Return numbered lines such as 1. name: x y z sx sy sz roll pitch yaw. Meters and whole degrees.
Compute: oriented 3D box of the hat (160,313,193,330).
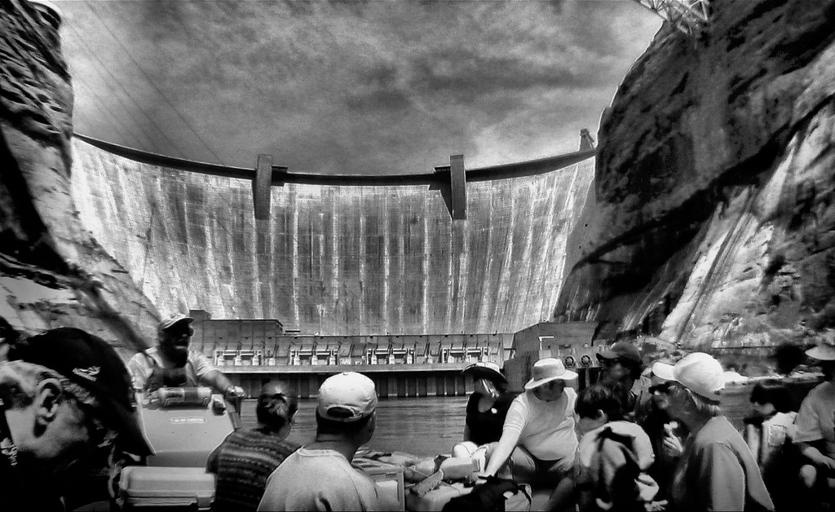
1. hat: -5.016 1.337 12.527 0.544 0.177 0.390 -21 -11 23
